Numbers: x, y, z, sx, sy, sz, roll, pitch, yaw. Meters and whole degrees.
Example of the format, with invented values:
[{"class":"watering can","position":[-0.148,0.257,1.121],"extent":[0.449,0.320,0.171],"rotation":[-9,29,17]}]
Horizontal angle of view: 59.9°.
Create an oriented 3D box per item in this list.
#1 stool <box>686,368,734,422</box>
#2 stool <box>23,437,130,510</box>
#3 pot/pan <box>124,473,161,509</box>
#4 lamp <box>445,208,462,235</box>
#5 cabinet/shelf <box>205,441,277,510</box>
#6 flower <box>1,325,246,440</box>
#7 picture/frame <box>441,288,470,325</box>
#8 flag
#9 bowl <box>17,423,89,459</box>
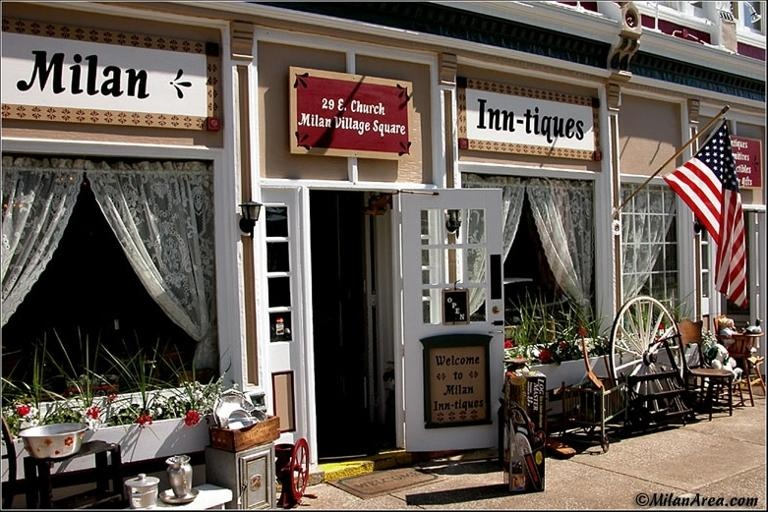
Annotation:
[{"class":"stool","position":[4.822,2.074,9.831],"extent":[0.594,0.707,0.648],"rotation":[-5,6,-31]},{"class":"stool","position":[-3.064,2.127,6.561],"extent":[0.519,0.692,0.879],"rotation":[2,1,44]},{"class":"pot/pan","position":[-2.436,2.328,6.696],"extent":[0.298,0.315,0.364],"rotation":[2,-6,-12]},{"class":"lamp","position":[0.897,-0.416,8.558],"extent":[0.217,0.343,0.084],"rotation":[-2,11,-6]},{"class":"cabinet/shelf","position":[-1.505,2.321,7.214],"extent":[0.644,1.038,0.687],"rotation":[-6,-6,33]},{"class":"flower","position":[-2.941,1.307,7.183],"extent":[1.722,0.665,1.104],"rotation":[2,-5,-14]},{"class":"picture/frame","position":[0.891,0.658,8.409],"extent":[0.417,0.543,0.066],"rotation":[1,-4,-11]},{"class":"flag","position":[4.743,-0.587,9.532],"extent":[1.297,2.645,0.727],"rotation":[-8,13,-33]},{"class":"bowl","position":[-3.241,1.810,6.511],"extent":[0.600,0.239,0.311],"rotation":[-4,12,-16]}]
